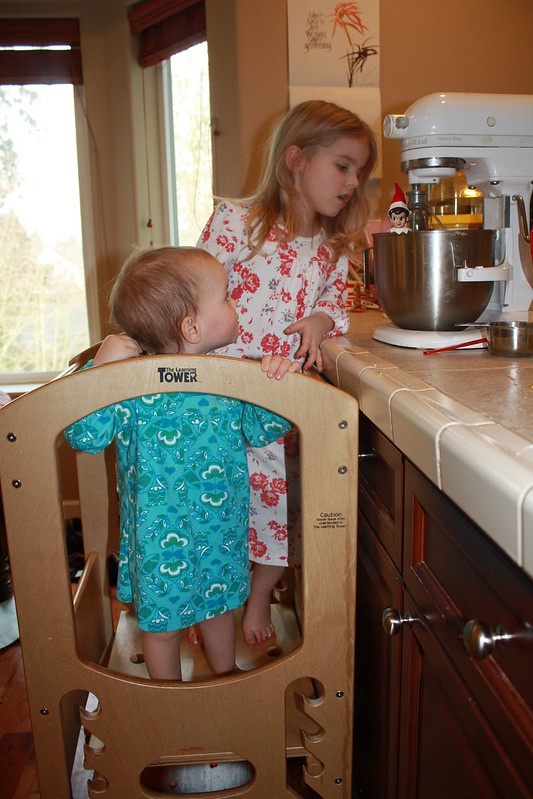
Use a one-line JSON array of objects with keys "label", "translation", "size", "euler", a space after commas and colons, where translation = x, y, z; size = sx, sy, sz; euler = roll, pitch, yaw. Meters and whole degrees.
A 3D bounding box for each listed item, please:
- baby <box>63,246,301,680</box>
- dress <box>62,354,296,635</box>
[{"label": "baby", "translation": [-0.107, 0.135, 0.942], "size": [0.333, 0.702, 0.247], "euler": [-9, 21, -25]}, {"label": "dress", "translation": [-0.125, 0.148, 0.949], "size": [0.352, 0.353, 0.149], "euler": [-2, -7, -25]}]
